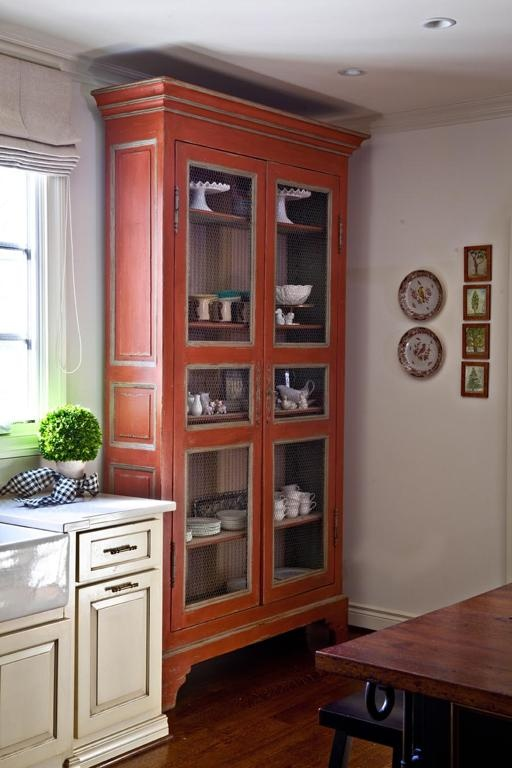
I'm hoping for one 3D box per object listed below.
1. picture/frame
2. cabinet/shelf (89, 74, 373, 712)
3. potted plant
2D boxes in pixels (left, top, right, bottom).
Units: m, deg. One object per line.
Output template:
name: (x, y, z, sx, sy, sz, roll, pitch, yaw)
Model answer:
picture/frame: (1.134, -0.316, 3.145, 0.193, 0.780, 0.127, -3, -8, 33)
cabinet/shelf: (-0.090, -0.012, 2.793, 0.545, 2.713, 1.467, -5, -9, 42)
potted plant: (-0.693, 0.202, 2.331, 0.258, 0.306, 0.268, 0, 2, -7)
